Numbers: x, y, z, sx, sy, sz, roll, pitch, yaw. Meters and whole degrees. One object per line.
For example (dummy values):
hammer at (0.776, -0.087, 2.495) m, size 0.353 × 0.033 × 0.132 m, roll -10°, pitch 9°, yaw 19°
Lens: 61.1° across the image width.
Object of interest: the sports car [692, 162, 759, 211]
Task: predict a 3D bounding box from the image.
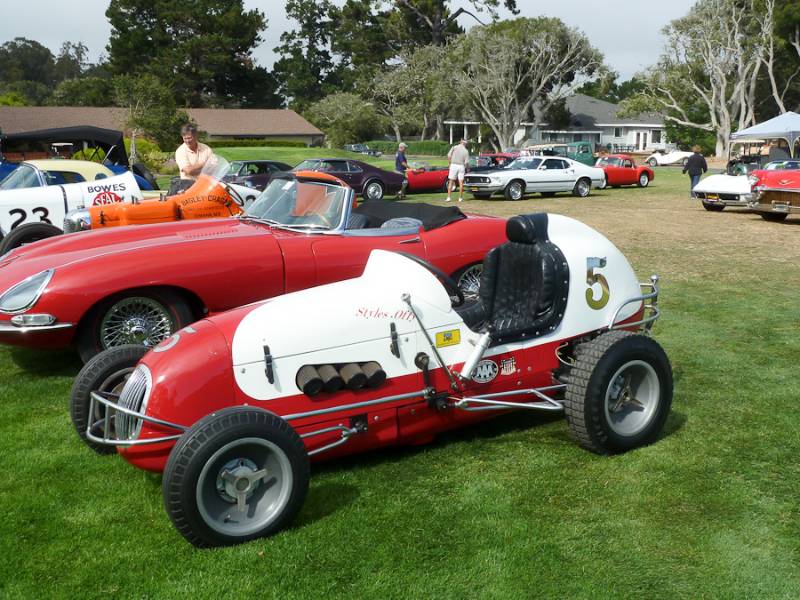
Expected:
sports car at (9.126, -3.144, 18.824) m, size 1.960 × 0.806 × 1.030 m, roll -7°, pitch 8°, yaw -44°

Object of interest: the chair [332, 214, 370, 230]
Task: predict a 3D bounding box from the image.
chair at (-0.515, -0.858, 7.515) m, size 0.190 × 0.112 × 0.272 m, roll 12°, pitch 13°, yaw 43°

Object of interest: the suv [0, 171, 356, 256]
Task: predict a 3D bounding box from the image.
suv at (-2.875, -1.030, 8.175) m, size 3.209 × 1.130 × 1.648 m, roll -2°, pitch 2°, yaw -23°

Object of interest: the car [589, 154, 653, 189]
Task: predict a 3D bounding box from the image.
car at (9.534, -5.352, 28.535) m, size 2.959 × 1.178 × 1.696 m, roll -1°, pitch 6°, yaw -26°

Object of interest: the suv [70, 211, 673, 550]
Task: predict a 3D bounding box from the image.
suv at (-0.076, 0.412, 4.919) m, size 4.010 × 1.787 × 1.722 m, roll -10°, pitch 13°, yaw -28°

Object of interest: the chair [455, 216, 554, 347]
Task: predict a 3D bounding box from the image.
chair at (0.793, -0.124, 5.286) m, size 0.724 × 1.072 × 0.833 m, roll 7°, pitch 16°, yaw 33°
